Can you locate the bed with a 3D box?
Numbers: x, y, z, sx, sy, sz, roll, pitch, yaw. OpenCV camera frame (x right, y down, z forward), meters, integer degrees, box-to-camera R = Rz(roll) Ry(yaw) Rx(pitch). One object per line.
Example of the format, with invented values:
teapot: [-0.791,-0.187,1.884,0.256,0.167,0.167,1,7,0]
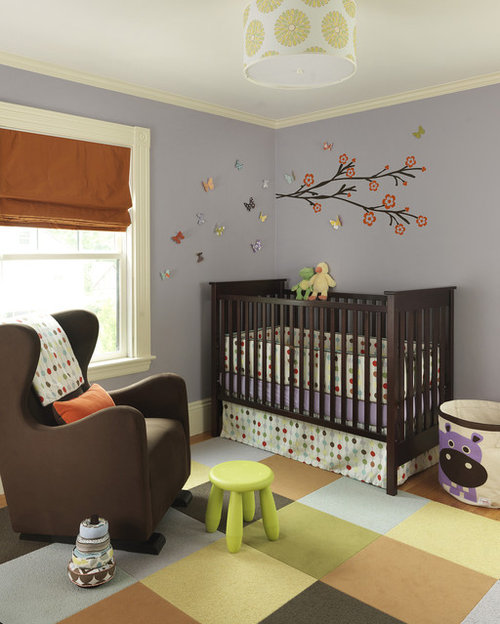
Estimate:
bed: [0.471,0.323,3.206,0.886,1.074,1.424,-3,4,-42]

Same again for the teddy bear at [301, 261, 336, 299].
teddy bear: [0.500,-0.223,3.669,0.264,0.349,0.102,-1,-11,40]

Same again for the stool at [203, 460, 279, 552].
stool: [-0.022,0.792,2.061,0.249,0.250,0.229,0,-2,-41]
